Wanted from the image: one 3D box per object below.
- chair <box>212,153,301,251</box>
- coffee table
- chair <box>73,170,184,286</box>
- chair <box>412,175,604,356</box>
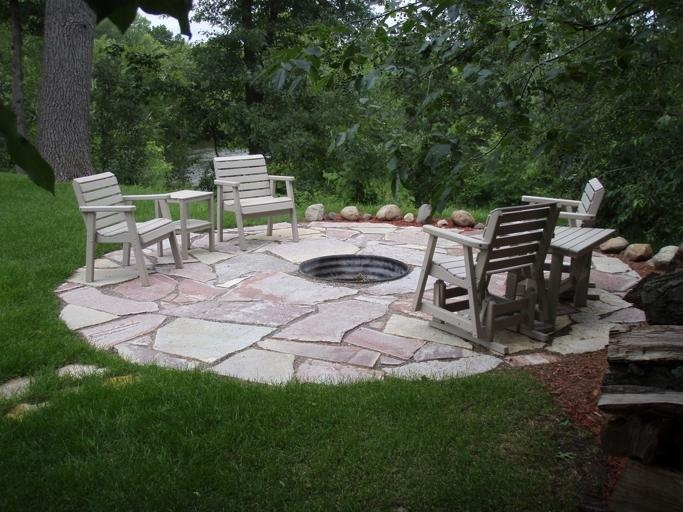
[{"bbox_3d":[-1.332,-0.851,7.921,1.077,1.087,0.990,-16,26,-41],"label":"chair"},{"bbox_3d":[-2.205,-0.466,7.219,0.866,0.749,0.762,-3,6,-4],"label":"coffee table"},{"bbox_3d":[-2.540,-0.337,6.391,1.283,1.135,1.111,5,10,-4],"label":"chair"},{"bbox_3d":[1.707,0.081,4.967,1.814,1.264,0.953,-11,17,-40],"label":"chair"}]
